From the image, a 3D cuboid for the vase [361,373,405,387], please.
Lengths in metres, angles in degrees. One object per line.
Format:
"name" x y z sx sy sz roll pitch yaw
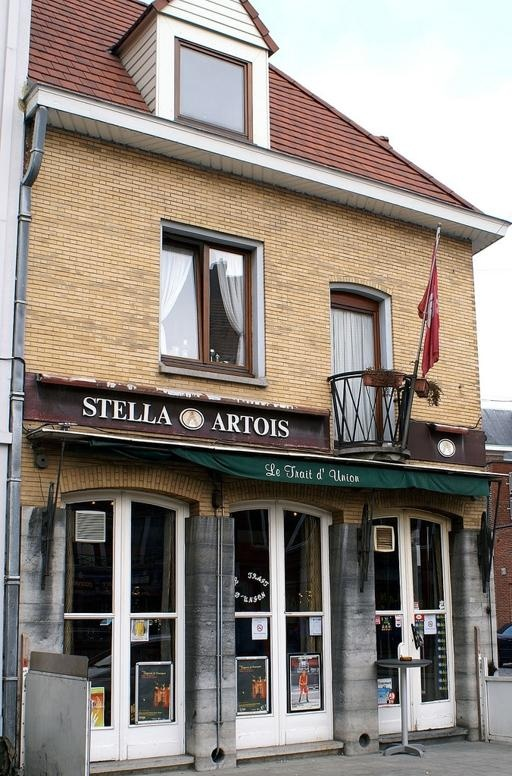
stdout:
"vase" 1.564 -0.113 12.922 0.603 0.185 0.148 6 -16 -28
